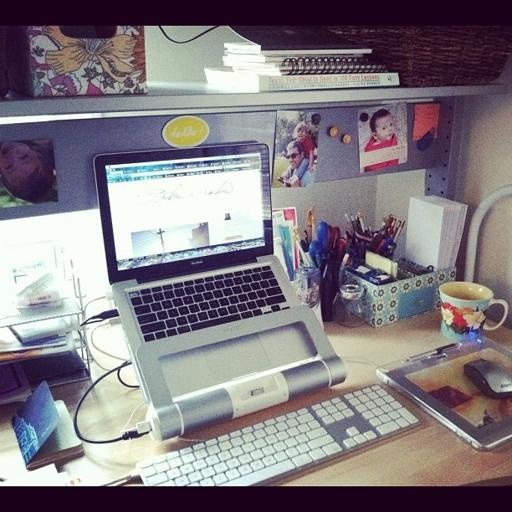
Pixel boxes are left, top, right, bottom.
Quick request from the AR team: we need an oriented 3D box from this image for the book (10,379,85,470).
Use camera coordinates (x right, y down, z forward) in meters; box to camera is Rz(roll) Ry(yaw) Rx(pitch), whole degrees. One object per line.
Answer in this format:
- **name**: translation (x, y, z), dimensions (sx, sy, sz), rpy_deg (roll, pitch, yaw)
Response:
- **book**: translation (-0.331, 0.273, 0.743), dimensions (0.101, 0.085, 0.135), rpy_deg (-7, 23, -22)

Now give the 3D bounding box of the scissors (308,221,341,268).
- **scissors**: translation (0.160, -0.031, 1.115), dimensions (0.074, 0.112, 0.028), rpy_deg (12, 1, -28)

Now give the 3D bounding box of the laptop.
- **laptop**: translation (-0.127, 0.025, 0.944), dimensions (0.470, 0.384, 0.448), rpy_deg (-12, 42, -21)

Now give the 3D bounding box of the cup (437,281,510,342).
- **cup**: translation (0.453, 0.112, 1.028), dimensions (0.166, 0.109, 0.115), rpy_deg (2, 16, 7)

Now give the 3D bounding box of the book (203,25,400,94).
- **book**: translation (0.087, -0.381, 0.879), dimensions (0.372, 0.140, 0.271), rpy_deg (-7, 18, -4)

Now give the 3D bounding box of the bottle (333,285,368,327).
- **bottle**: translation (0.221, 0.114, 1.124), dimensions (0.092, 0.086, 0.092), rpy_deg (-7, 21, -14)
